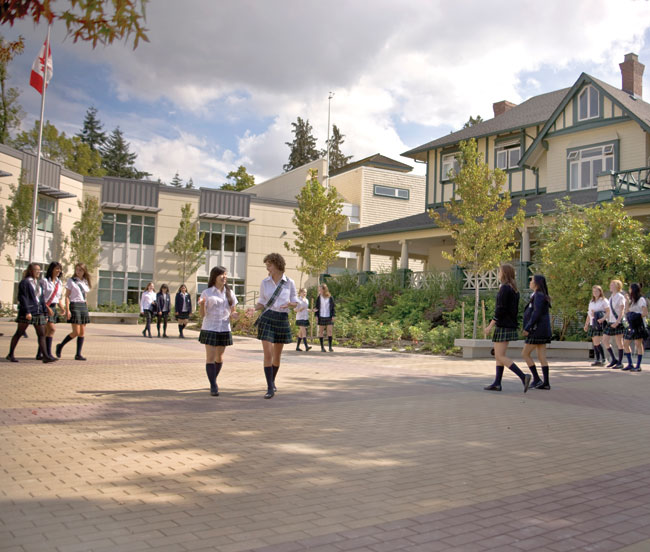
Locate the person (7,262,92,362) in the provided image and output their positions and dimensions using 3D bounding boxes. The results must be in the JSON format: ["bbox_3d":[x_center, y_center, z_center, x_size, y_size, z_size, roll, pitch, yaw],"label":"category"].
[{"bbox_3d":[-5.861,0.756,12.661,1.380,2.078,1.082,3,-3,-43],"label":"person"}]

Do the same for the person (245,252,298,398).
[{"bbox_3d":[-0.759,0.753,9.362,0.594,2.197,0.870,1,-2,-5],"label":"person"}]

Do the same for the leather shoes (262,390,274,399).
[{"bbox_3d":[-0.839,1.778,9.046,0.135,0.110,0.248,2,-2,-6],"label":"leather shoes"}]

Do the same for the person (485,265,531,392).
[{"bbox_3d":[3.252,0.897,10.697,0.704,2.241,1.386,1,-2,15],"label":"person"}]
